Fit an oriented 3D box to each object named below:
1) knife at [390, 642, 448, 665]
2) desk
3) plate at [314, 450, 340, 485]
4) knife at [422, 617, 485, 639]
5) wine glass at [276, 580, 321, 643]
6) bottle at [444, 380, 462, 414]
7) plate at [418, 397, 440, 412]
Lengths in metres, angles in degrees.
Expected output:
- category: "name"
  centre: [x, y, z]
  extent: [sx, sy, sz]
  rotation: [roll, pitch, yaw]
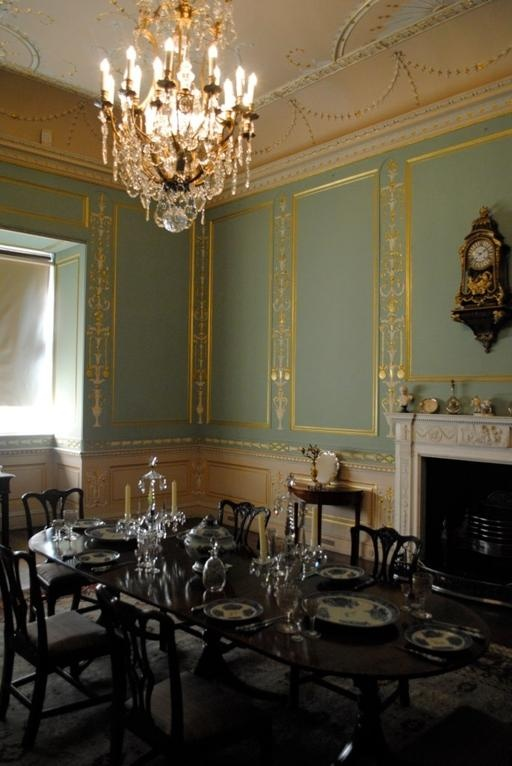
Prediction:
- category: "knife"
  centre: [0.426, 0.677, 1.501]
  extent: [0.030, 0.015, 0.197]
  rotation: [-5, -2, -14]
- category: "desk"
  centre: [0.536, 1.085, 4.555]
  extent: [0.383, 0.575, 0.611]
  rotation: [3, -6, -27]
- category: "plate"
  centre: [0.577, 0.683, 4.759]
  extent: [0.033, 0.293, 0.261]
  rotation: [9, -12, -41]
- category: "knife"
  centre: [0.559, 0.696, 1.681]
  extent: [0.029, 0.014, 0.147]
  rotation: [-2, 0, -31]
- category: "wine glass"
  centre: [0.110, 0.635, 1.686]
  extent: [0.133, 0.135, 0.132]
  rotation: [-5, -7, 43]
- category: "bottle"
  centre: [1.326, 0.088, 3.988]
  extent: [0.099, 0.227, 0.106]
  rotation: [0, -2, 0]
- category: "plate"
  centre: [1.208, 0.157, 4.116]
  extent: [0.024, 0.100, 0.099]
  rotation: [28, 13, -40]
